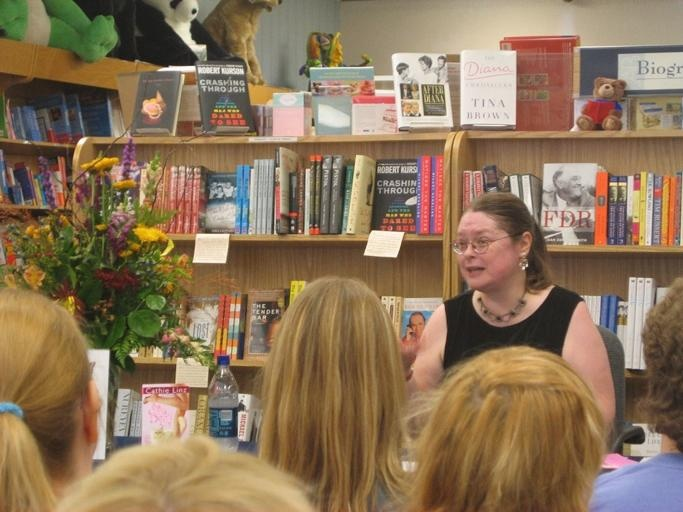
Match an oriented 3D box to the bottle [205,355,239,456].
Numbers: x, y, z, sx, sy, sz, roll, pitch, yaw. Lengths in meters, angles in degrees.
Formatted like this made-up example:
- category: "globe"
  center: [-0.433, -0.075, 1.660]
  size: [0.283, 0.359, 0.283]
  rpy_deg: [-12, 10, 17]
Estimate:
- category: "bottle"
  center: [-0.409, 0.491, 2.198]
  size: [0.102, 0.282, 0.385]
  rpy_deg: [-2, 6, -11]
